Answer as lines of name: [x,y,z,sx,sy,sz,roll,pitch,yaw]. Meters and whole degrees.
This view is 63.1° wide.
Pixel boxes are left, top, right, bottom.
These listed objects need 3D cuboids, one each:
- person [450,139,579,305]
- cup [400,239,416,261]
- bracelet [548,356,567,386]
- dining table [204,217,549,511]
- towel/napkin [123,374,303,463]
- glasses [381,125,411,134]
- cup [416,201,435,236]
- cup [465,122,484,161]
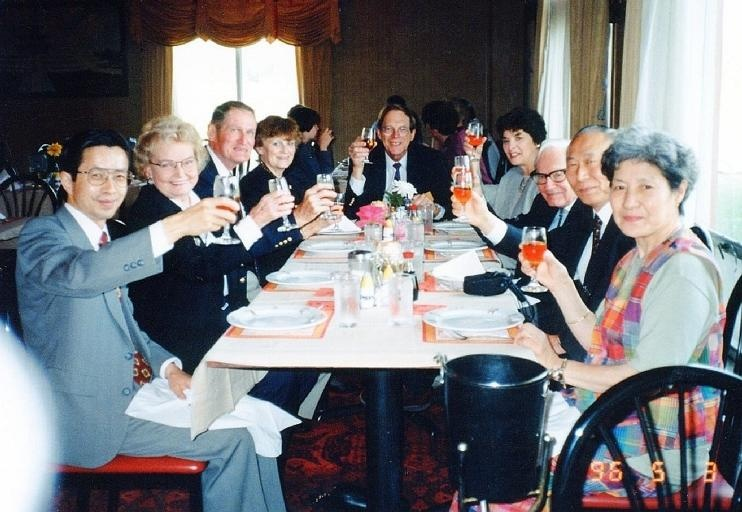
person: [0.718,-0.169,2.960,0.730,0.412,0.939,10,42,-1]
cup: [0.160,-0.026,2.563,0.070,0.073,0.070,-1,-2,0]
bracelet: [0.556,0.344,1.839,0.053,0.093,0.077,3,-6,-19]
dining table: [0.002,0.468,2.322,0.839,0.746,0.811,2,16,2]
towel/napkin: [-0.581,0.563,2.174,0.491,0.112,0.296,15,-7,1]
glasses: [0.186,-0.948,4.599,0.210,0.079,0.082,-2,10,-2]
cup: [0.320,-0.223,3.825,0.147,0.168,0.141,-3,4,0]
cup: [0.621,-0.700,3.574,0.113,0.205,0.111,0,22,0]
